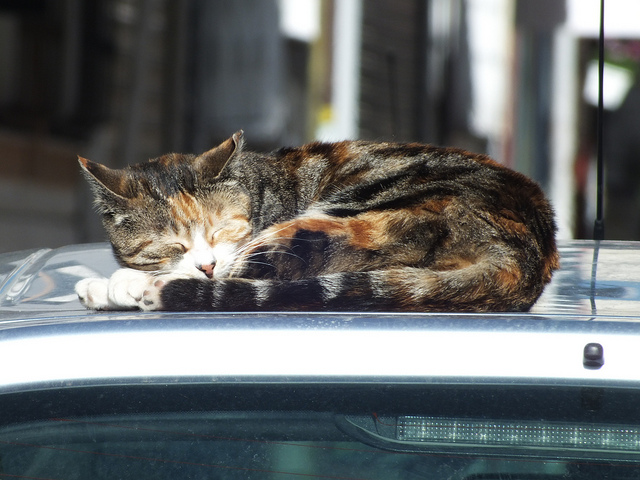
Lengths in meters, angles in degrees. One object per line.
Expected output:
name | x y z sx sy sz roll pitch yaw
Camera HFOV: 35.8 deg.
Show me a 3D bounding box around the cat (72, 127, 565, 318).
cat | 0.001 -0.019 3.997 1.435 0.534 0.964 1 -10 0
